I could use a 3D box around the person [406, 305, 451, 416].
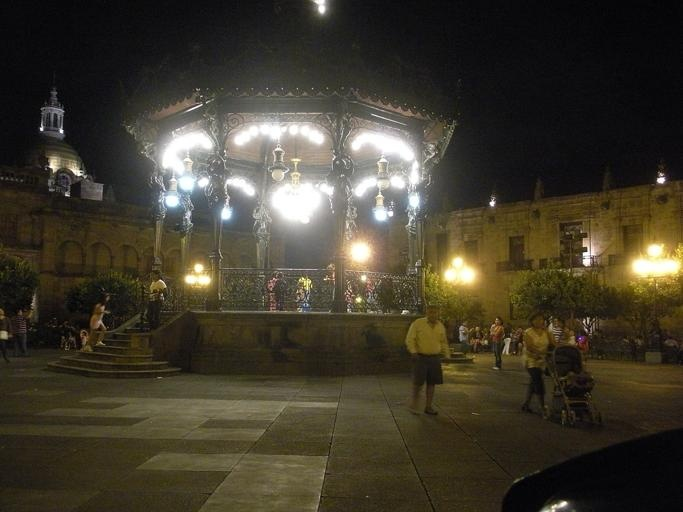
[{"bbox_3d":[1.643,1.986,13.895,0.755,2.063,1.055,3,3,38],"label":"person"}]

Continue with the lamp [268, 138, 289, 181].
[{"bbox_3d":[-1.932,-2.899,21.803,0.590,1.111,0.627,1,4,17],"label":"lamp"}]

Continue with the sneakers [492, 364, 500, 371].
[{"bbox_3d":[5.253,3.782,24.271,0.328,0.240,0.117,3,4,42],"label":"sneakers"}]

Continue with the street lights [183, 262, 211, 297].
[{"bbox_3d":[-4.785,0.779,23.493,0.917,1.260,0.946,1,-4,-13],"label":"street lights"}]

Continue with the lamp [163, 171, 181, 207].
[{"bbox_3d":[-5.111,-2.016,21.523,0.361,1.059,0.858,1,2,-5],"label":"lamp"}]

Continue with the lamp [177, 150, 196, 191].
[{"bbox_3d":[-4.748,-2.610,21.941,0.485,1.215,0.801,1,2,-12],"label":"lamp"}]

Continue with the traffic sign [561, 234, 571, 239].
[{"bbox_3d":[15.451,-1.371,48.727,0.225,0.371,0.947,1,2,-6],"label":"traffic sign"}]

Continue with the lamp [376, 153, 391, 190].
[{"bbox_3d":[1.306,-2.652,22.155,0.397,0.982,0.915,1,2,2],"label":"lamp"}]

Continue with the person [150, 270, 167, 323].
[{"bbox_3d":[-5.210,1.157,20.043,0.435,1.485,1.454,1,2,-14],"label":"person"}]

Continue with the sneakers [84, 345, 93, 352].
[{"bbox_3d":[-7.003,2.524,19.667,0.232,0.188,0.236,8,-11,-30],"label":"sneakers"}]

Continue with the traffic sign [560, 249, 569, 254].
[{"bbox_3d":[15.358,-0.344,49.038,0.559,0.407,0.317,-2,-18,9],"label":"traffic sign"}]

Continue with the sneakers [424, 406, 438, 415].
[{"bbox_3d":[1.667,2.932,13.536,0.306,0.206,0.106,-3,0,18],"label":"sneakers"}]

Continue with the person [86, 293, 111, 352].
[{"bbox_3d":[-6.958,1.767,20.236,0.561,1.519,2.732,1,2,-18],"label":"person"}]
